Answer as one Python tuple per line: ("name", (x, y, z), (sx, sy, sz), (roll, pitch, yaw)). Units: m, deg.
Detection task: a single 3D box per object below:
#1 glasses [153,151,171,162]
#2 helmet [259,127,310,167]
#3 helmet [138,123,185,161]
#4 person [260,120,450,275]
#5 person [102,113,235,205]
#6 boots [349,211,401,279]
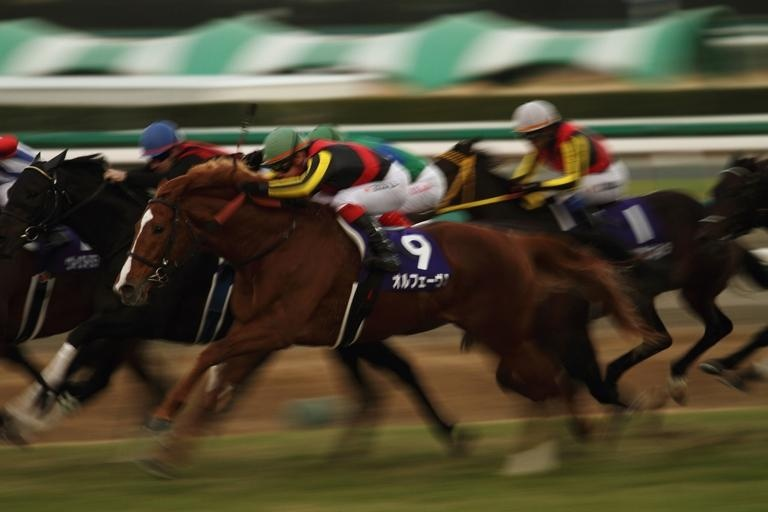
("glasses", (-1.362, -0.612, 5.946), (0.114, 0.016, 0.051), (-16, 4, 10))
("helmet", (-0.604, -0.619, 5.553), (0.260, 0.145, 0.282), (-19, -24, 29))
("helmet", (-1.372, -0.716, 6.005), (0.235, 0.133, 0.245), (-17, 35, 20))
("person", (-0.263, -0.314, 5.892), (1.514, 0.681, 0.557), (15, -33, -28))
("person", (-1.304, -0.640, 6.031), (1.002, 0.333, 0.300), (-14, 16, -37))
("boots", (-0.036, -0.065, 5.444), (0.240, 0.318, 0.145), (-26, 7, 19))
